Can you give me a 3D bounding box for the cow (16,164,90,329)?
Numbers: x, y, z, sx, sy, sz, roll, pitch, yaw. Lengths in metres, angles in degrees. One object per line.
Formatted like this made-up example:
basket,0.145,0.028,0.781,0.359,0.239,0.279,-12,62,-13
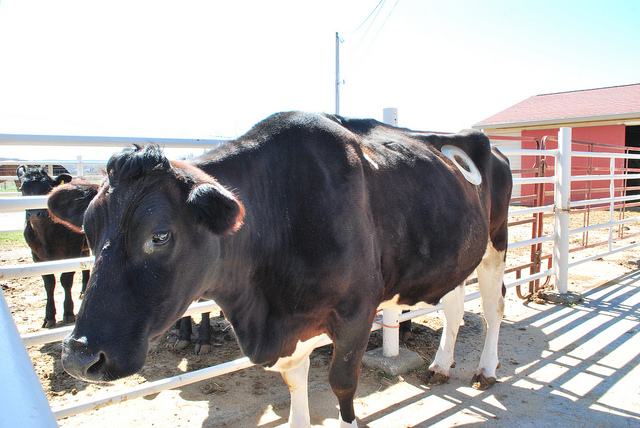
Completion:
cow,-3.710,0.610,7.234,0.675,1.912,2.564,-9,-4,-20
